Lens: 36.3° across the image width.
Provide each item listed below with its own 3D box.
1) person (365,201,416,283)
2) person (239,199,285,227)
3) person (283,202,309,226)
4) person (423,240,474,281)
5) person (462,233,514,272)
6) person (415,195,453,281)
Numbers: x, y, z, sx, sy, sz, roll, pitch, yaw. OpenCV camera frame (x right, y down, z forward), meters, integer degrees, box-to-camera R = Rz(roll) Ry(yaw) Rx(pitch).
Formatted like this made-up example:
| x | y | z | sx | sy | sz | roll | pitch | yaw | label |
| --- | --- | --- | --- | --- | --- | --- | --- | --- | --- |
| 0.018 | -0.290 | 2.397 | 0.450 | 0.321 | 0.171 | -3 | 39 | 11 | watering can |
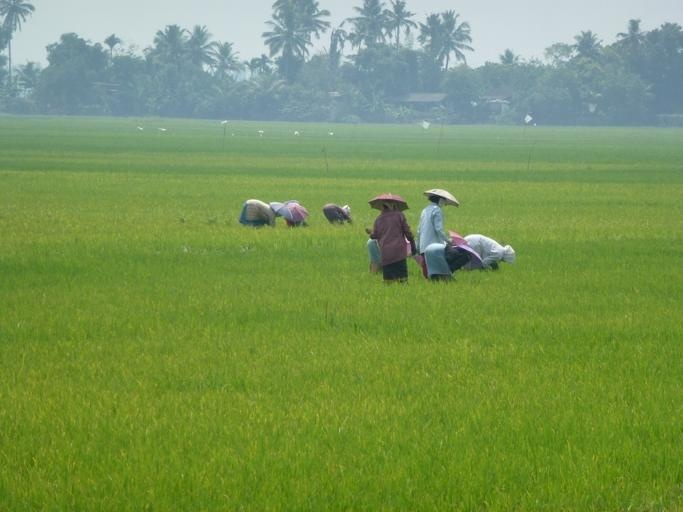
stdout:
| x | y | z | sx | sy | sz | roll | pitch | yaw | label |
| --- | --- | --- | --- | --- | --- | --- | --- | --- | --- |
| 1.002 | -0.274 | 21.397 | 0.860 | 1.924 | 0.798 | -6 | 5 | 6 | person |
| -2.272 | -1.213 | 29.792 | 1.095 | 0.773 | 0.696 | 3 | 48 | -12 | person |
| -1.293 | -1.192 | 29.792 | 0.645 | 0.591 | 0.840 | 0 | 10 | 0 | person |
| 2.304 | 0.014 | 22.024 | 1.008 | 0.793 | 0.761 | -8 | 11 | -11 | person |
| 3.240 | 0.004 | 23.271 | 1.205 | 0.852 | 0.703 | 8 | 8 | -1 | person |
| 1.947 | -0.438 | 21.593 | 0.689 | 1.885 | 0.520 | 1 | 10 | 6 | person |
